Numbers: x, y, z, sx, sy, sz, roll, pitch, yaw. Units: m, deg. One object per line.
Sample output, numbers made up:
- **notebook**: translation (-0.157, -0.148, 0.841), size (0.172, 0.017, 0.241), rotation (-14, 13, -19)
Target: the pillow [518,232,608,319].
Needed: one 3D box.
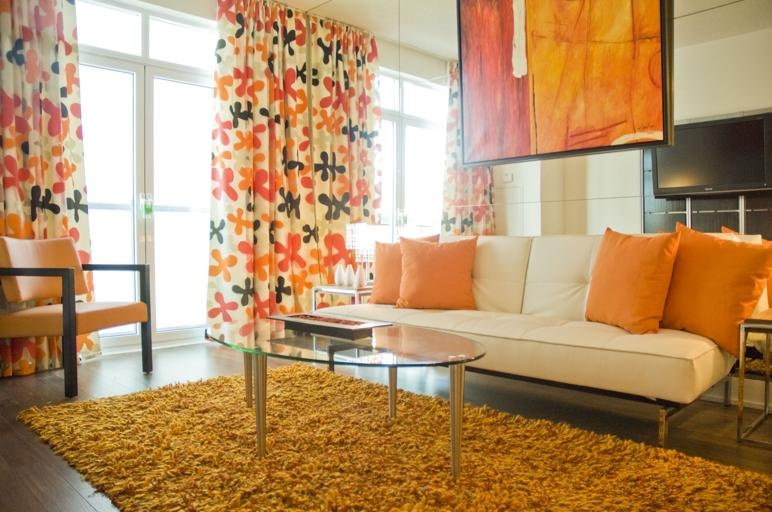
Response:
- **pillow**: translation (1.237, 0.141, 4.294), size (0.589, 0.559, 0.213), rotation (1, -16, 44)

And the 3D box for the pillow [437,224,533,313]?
- **pillow**: translation (0.748, 0.122, 4.522), size (0.682, 0.582, 0.260), rotation (-1, -33, 27)

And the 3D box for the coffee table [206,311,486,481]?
- **coffee table**: translation (-0.317, 0.786, 3.610), size (1.799, 0.649, 1.201), rotation (2, 3, 41)

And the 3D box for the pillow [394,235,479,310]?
- **pillow**: translation (0.398, 0.139, 4.588), size (0.578, 0.542, 0.220), rotation (2, 1, 14)

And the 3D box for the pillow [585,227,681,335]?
- **pillow**: translation (1.587, 0.148, 3.946), size (0.353, 0.621, 0.688), rotation (-3, 3, -14)
